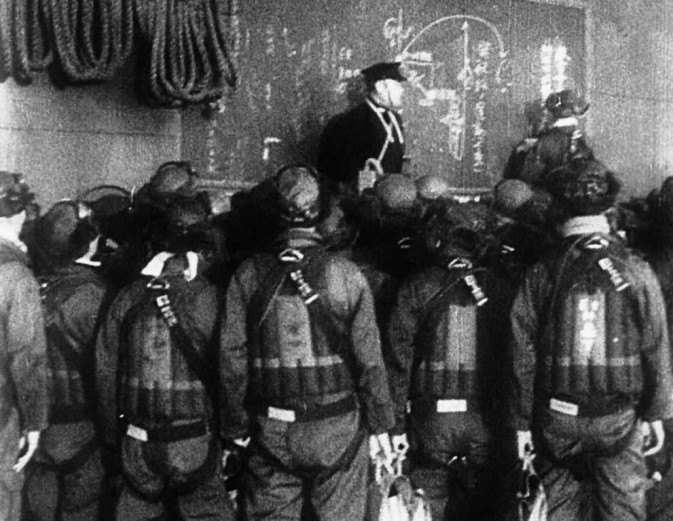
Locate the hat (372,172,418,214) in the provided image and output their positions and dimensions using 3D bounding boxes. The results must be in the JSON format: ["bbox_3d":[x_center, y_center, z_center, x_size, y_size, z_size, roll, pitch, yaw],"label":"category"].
[{"bbox_3d":[0.205,-0.233,5.443,0.143,0.124,0.074,6,1,-16],"label":"hat"}]

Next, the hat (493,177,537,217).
[{"bbox_3d":[0.619,-0.220,5.510,0.148,0.120,0.032,-3,12,-20],"label":"hat"}]

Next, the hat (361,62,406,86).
[{"bbox_3d":[0.174,-0.634,5.372,0.124,0.041,0.077,-2,14,-13],"label":"hat"}]

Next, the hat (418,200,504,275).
[{"bbox_3d":[0.432,-0.087,5.472,0.269,0.224,0.096,3,17,-6],"label":"hat"}]

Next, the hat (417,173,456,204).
[{"bbox_3d":[0.339,-0.249,5.429,0.091,0.053,0.104,10,3,9],"label":"hat"}]

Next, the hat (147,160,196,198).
[{"bbox_3d":[-0.545,-0.272,5.255,0.155,0.116,0.034,-1,4,-6],"label":"hat"}]
